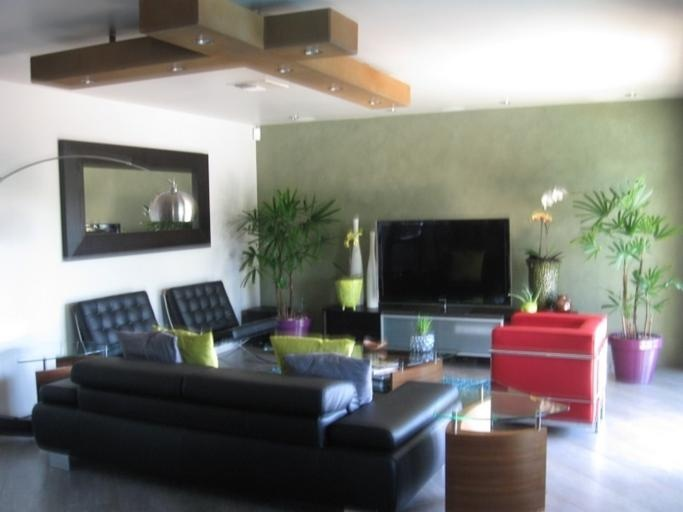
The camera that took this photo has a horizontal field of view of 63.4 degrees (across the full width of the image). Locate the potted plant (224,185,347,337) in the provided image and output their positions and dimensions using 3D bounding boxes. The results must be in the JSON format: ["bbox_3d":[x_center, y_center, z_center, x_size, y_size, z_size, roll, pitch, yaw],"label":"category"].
[{"bbox_3d":[-0.872,0.116,8.083,1.819,2.084,1.531,-2,-4,44],"label":"potted plant"}]

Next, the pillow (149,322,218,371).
[{"bbox_3d":[-1.052,0.617,4.029,0.339,0.366,0.101,-3,18,32],"label":"pillow"}]

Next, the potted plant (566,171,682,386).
[{"bbox_3d":[3.076,0.225,5.968,1.048,2.070,0.949,0,5,23],"label":"potted plant"}]

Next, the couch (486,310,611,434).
[{"bbox_3d":[1.820,0.790,4.734,0.943,1.046,1.035,1,-1,28],"label":"couch"}]

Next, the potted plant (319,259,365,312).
[{"bbox_3d":[-0.014,0.377,7.136,0.518,0.863,0.602,-2,-3,38],"label":"potted plant"}]

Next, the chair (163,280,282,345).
[{"bbox_3d":[-1.417,0.635,6.541,0.802,0.797,0.839,-1,1,22],"label":"chair"}]

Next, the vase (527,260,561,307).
[{"bbox_3d":[2.295,0.312,6.276,0.397,0.582,0.389,-4,5,-35],"label":"vase"}]

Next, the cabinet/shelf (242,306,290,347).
[{"bbox_3d":[-1.078,0.917,7.555,0.359,0.383,0.370,3,5,31],"label":"cabinet/shelf"}]

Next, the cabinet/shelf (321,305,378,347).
[{"bbox_3d":[0.135,0.825,6.827,0.649,0.486,0.389,1,0,22],"label":"cabinet/shelf"}]

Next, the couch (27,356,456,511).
[{"bbox_3d":[-0.701,1.091,3.725,2.613,0.777,0.601,-1,5,17],"label":"couch"}]

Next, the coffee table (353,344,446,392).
[{"bbox_3d":[0.507,0.957,4.716,0.462,0.222,0.474,2,3,34],"label":"coffee table"}]
